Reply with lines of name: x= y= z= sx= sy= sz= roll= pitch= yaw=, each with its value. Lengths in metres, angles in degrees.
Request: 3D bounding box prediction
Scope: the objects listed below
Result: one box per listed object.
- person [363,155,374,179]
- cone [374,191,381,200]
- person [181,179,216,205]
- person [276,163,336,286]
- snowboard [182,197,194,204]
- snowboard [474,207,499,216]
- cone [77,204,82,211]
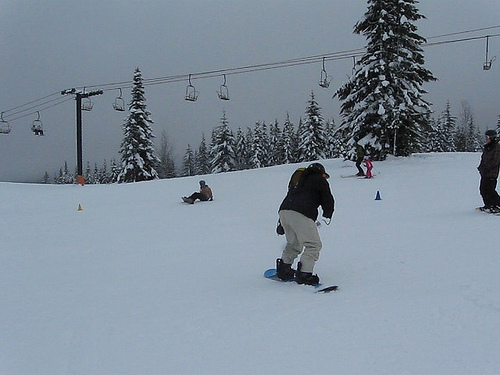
person: x=4.906 y=-0.875 z=25.730 sx=0.407 sy=0.829 sz=2.221 roll=0 pitch=8 yaw=11
cone: x=4.136 y=0.265 z=20.104 sx=0.188 sy=0.227 sz=0.195 roll=-3 pitch=4 yaw=21
person: x=-1.974 y=0.141 z=22.867 sx=1.494 sy=1.253 sz=0.717 roll=-7 pitch=0 yaw=-5
person: x=1.141 y=0.771 z=13.083 sx=1.180 sy=2.468 sz=0.613 roll=-2 pitch=7 yaw=3
snowboard: x=-2.144 y=0.448 z=22.062 sx=0.495 sy=0.291 sz=0.215 roll=-9 pitch=10 yaw=-40
snowboard: x=6.461 y=0.658 z=16.956 sx=0.132 sy=0.128 sz=0.793 roll=-23 pitch=23 yaw=-19
cone: x=-5.637 y=0.687 z=20.938 sx=0.158 sy=0.194 sz=0.160 roll=-1 pitch=-2 yaw=43
